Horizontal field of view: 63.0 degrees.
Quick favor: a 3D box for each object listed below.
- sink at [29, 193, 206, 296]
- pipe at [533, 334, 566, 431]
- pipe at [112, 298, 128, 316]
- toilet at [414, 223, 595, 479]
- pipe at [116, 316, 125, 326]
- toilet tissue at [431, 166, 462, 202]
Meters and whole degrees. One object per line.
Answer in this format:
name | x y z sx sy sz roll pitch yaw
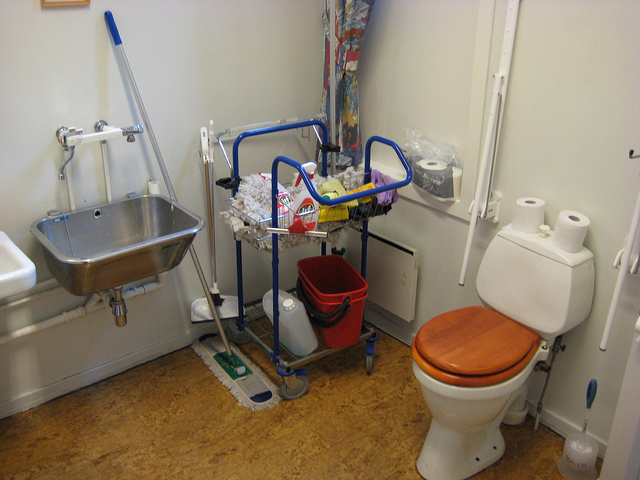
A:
sink | -0.893 0.012 2.343 0.669 0.252 0.490 -17 31 -28
pipe | 1.011 0.636 2.349 0.149 0.501 0.081 -18 31 -31
pipe | -0.932 0.316 2.453 0.054 0.070 0.067 -3 16 -13
toilet | 0.817 0.514 2.227 0.737 1.061 0.492 -16 31 -26
pipe | -0.933 0.380 2.447 0.036 0.046 0.038 3 11 -6
toilet tissue | 0.596 -0.262 2.488 0.130 0.107 0.139 5 31 8
